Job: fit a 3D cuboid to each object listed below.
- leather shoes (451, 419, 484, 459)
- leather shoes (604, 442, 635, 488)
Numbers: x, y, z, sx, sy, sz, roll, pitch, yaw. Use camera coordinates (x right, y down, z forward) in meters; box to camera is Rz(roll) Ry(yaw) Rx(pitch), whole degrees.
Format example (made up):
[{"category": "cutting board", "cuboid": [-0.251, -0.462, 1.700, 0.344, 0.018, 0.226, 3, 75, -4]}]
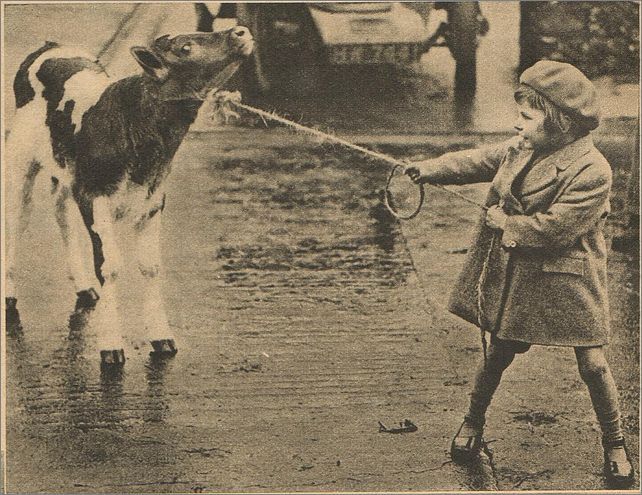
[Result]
[{"category": "leather shoes", "cuboid": [1.525, 2.035, 18.853, 0.328, 0.390, 0.120, 16, 5, -4]}, {"category": "leather shoes", "cuboid": [3.099, 2.308, 18.808, 0.276, 0.496, 0.246, -9, -18, 12]}]
